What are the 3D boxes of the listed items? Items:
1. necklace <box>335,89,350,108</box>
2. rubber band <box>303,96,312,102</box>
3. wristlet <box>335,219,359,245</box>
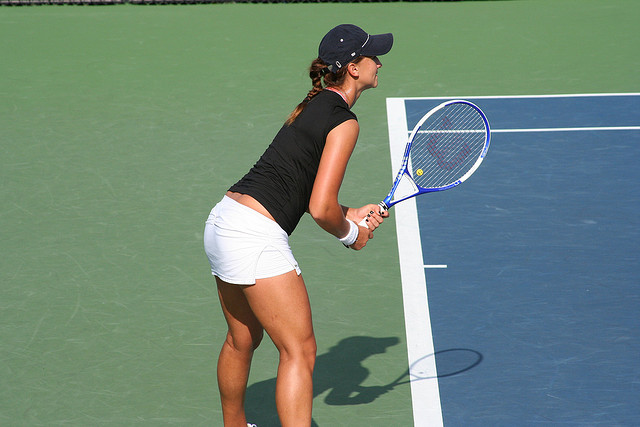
[{"bbox_3d":[0.171,-0.956,8.274,0.042,0.156,0.145,-37,65,-4],"label":"necklace"},{"bbox_3d":[-0.105,-0.962,8.357,0.063,0.013,0.089,3,37,18],"label":"rubber band"},{"bbox_3d":[0.257,0.144,8.442,0.158,0.213,0.177,-3,75,34],"label":"wristlet"}]
